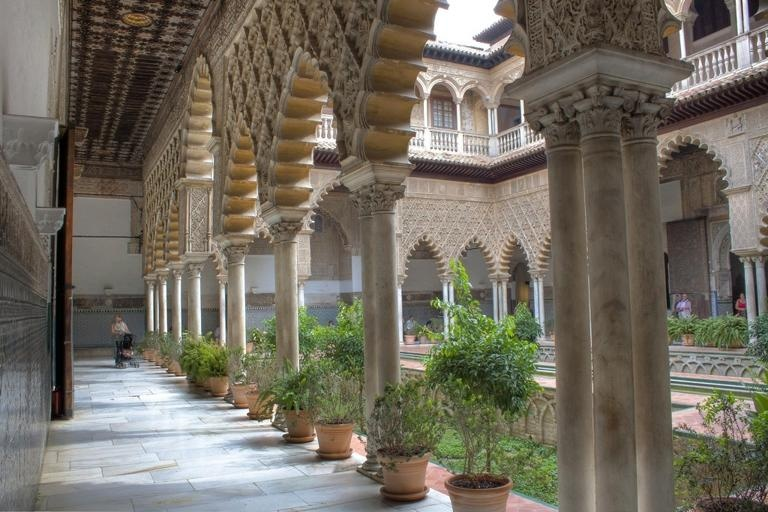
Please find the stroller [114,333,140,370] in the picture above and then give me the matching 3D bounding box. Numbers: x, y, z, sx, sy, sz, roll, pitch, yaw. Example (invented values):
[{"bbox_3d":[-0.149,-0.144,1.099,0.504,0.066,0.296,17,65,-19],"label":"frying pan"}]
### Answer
[{"bbox_3d":[-7.695,2.813,17.810,0.592,1.006,1.212,4,-8,-24],"label":"stroller"}]
